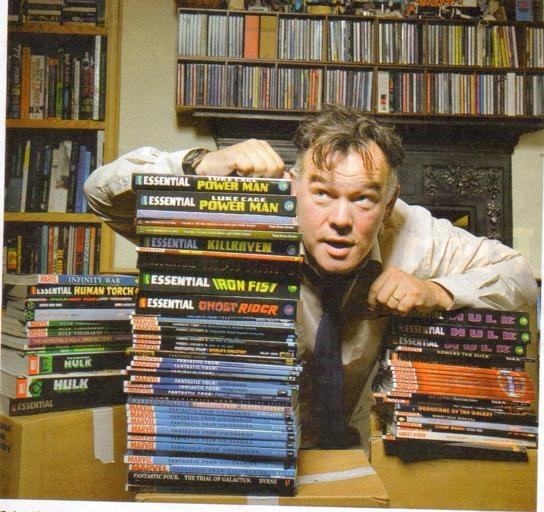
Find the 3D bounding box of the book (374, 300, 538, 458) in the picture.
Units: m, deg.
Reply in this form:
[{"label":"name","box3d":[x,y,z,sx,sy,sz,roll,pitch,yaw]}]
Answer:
[{"label":"book","box3d":[0.607,0.407,3.906,0.525,0.490,0.475,0,5,9]}]

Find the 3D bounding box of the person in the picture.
[{"label":"person","box3d":[0.164,0.099,3.821,1.223,1.449,0.481,4,-2,-5]}]
